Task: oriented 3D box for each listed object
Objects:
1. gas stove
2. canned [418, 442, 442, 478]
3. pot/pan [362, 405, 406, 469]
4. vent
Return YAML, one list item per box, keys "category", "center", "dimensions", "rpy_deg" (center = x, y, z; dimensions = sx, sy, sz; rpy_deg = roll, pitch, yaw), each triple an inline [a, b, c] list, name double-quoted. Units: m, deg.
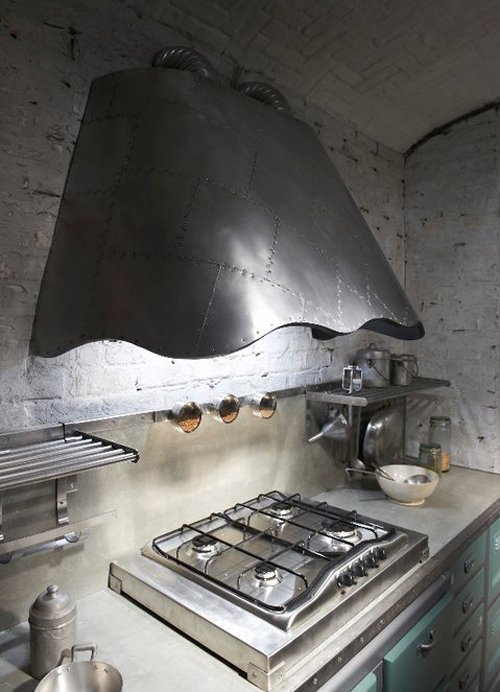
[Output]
- category: "gas stove"
  center: [0.047, 0.512, 1.377]
  dimensions: [0.537, 0.122, 0.689]
  rpy_deg: [5, 8, 40]
- category: "canned"
  center: [0.698, 0.424, 2.142]
  dimensions: [0.080, 0.110, 0.122]
  rpy_deg: [1, 2, 29]
- category: "pot/pan"
  center: [0.549, 0.380, 2.283]
  dimensions: [0.091, 0.260, 0.365]
  rpy_deg: [3, 7, 29]
- category: "vent"
  center: [-0.029, -0.283, 1.171]
  dimensions: [0.769, 0.609, 0.489]
  rpy_deg: [-4, 7, -30]
